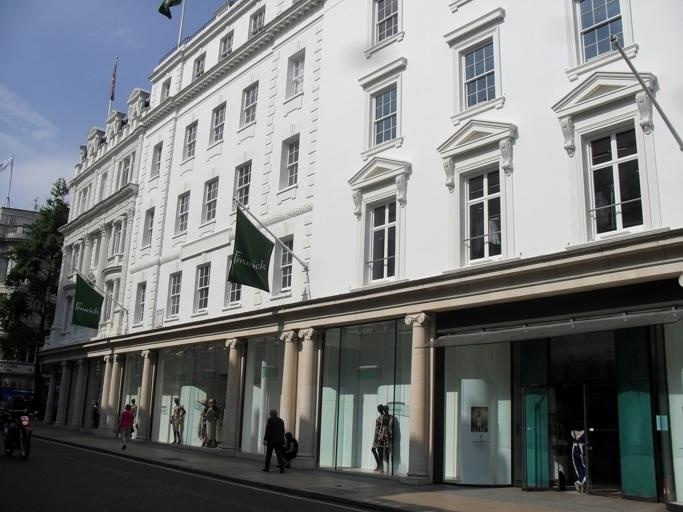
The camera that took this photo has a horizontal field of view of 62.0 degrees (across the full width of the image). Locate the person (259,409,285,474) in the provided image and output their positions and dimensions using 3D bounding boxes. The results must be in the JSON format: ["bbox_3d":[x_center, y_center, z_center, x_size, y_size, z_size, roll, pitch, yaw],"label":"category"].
[{"bbox_3d":[-2.276,6.230,19.296,0.680,2.009,1.400,2,-16,-7],"label":"person"}]

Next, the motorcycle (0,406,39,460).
[{"bbox_3d":[-10.090,5.684,17.942,1.071,1.492,2.335,12,-29,-30],"label":"motorcycle"}]

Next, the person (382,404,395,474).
[{"bbox_3d":[1.527,5.919,18.396,0.159,2.082,0.475,13,-20,-40],"label":"person"}]

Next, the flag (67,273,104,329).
[{"bbox_3d":[-13.979,2.422,31.463,1.390,3.012,2.548,7,-17,-24],"label":"flag"}]

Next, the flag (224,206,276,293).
[{"bbox_3d":[-3.511,-0.212,22.332,2.435,4.382,0.333,24,-34,-36],"label":"flag"}]

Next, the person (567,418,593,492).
[{"bbox_3d":[6.694,5.665,15.845,0.316,1.683,0.733,6,-16,-22],"label":"person"}]
